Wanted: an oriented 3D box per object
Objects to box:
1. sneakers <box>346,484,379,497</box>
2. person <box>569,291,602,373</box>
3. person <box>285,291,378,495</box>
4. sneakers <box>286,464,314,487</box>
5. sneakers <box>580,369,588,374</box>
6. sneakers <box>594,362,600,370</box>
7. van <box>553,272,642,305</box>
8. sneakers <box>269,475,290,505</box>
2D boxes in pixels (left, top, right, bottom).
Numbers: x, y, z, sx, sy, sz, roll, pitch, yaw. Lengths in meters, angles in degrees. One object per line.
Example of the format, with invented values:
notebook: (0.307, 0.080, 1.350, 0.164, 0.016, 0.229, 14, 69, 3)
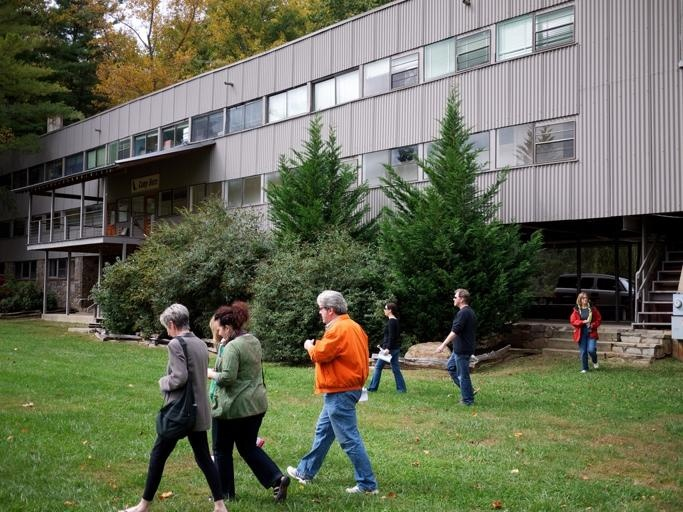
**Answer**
sneakers: (0.322, 3.400, 10.168, 0.464, 0.225, 0.184, 5, -11, 12)
person: (6.391, 2.001, 17.922, 0.725, 1.982, 0.757, -1, 6, -17)
person: (-0.011, 2.012, 10.269, 1.284, 2.944, 0.710, 4, 6, 34)
sneakers: (-0.637, 3.334, 10.595, 0.431, 0.198, 0.160, 22, 16, 38)
sneakers: (6.220, 2.958, 17.672, 0.226, 0.107, 0.081, 13, -16, -36)
sneakers: (6.704, 2.850, 18.075, 0.096, 0.129, 0.290, -1, 10, 11)
van: (9.446, 1.232, 25.892, 2.217, 1.188, 1.051, -4, -7, 33)
sneakers: (-0.861, 3.328, 9.941, 0.147, 0.465, 0.154, 6, -1, -24)
